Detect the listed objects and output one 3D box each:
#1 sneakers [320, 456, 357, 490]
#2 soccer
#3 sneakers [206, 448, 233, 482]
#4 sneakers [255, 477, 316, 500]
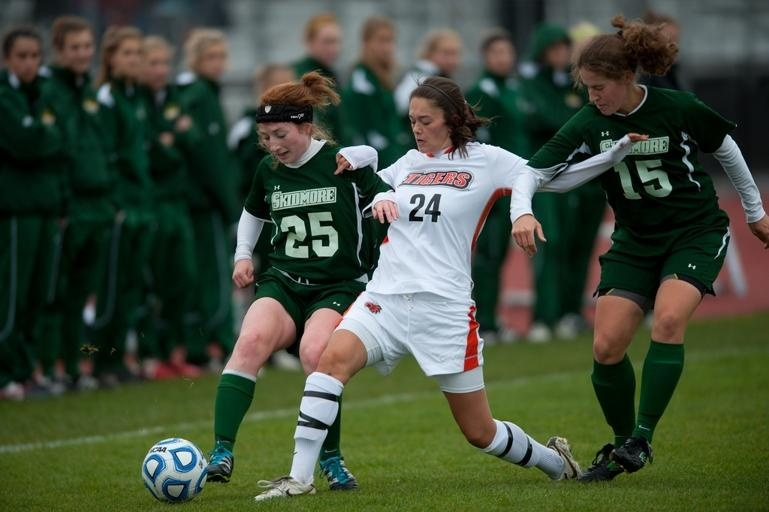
[{"bbox_3d":[-0.310,1.483,7.204,0.135,0.136,0.314,-10,5,-23],"label":"sneakers"},{"bbox_3d":[-1.380,1.441,7.003,0.438,0.399,0.220,-3,6,-5],"label":"soccer"},{"bbox_3d":[-1.083,1.377,6.968,0.164,0.217,0.191,-3,6,-9],"label":"sneakers"},{"bbox_3d":[-0.654,1.539,7.012,0.456,0.184,0.154,-1,-12,-6],"label":"sneakers"}]
